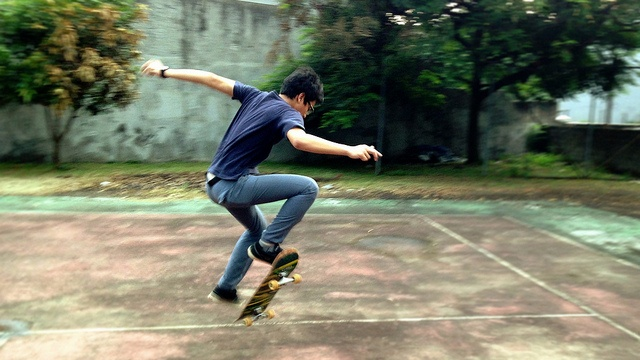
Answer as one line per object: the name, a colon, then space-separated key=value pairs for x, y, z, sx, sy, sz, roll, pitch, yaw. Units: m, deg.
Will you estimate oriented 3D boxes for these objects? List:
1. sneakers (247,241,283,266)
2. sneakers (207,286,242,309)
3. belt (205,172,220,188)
sneakers: x=-0.826 y=1.053 z=6.836 sx=0.693 sy=0.231 sz=0.211 roll=11 pitch=37 yaw=-28
sneakers: x=-1.423 y=1.732 z=7.084 sx=0.614 sy=0.215 sz=0.171 roll=10 pitch=40 yaw=-27
belt: x=-1.569 y=-0.004 z=6.791 sx=0.235 sy=0.154 sz=0.231 roll=-13 pitch=-22 yaw=-3
